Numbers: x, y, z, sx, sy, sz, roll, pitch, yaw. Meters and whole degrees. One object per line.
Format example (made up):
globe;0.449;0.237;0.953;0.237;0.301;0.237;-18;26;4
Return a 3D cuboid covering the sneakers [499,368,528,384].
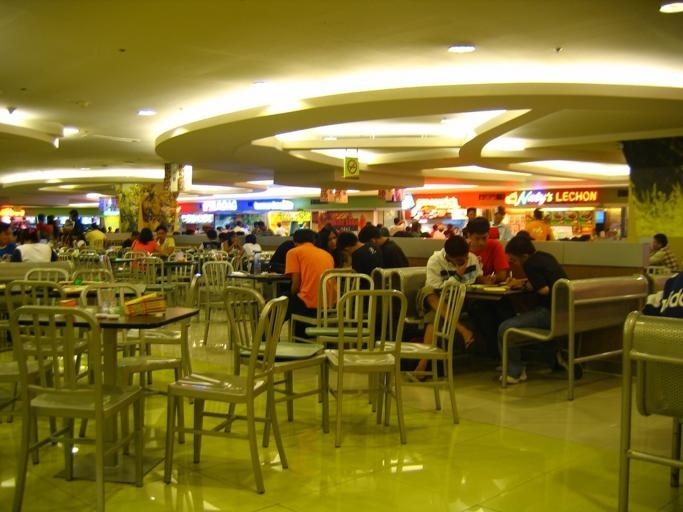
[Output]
sneakers;1.673;1.182;5.281;0.255;0.098;0.130;8;-10;-33

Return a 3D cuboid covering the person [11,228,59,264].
person;-4.106;-0.096;7.135;0.520;0.461;1.081;-3;9;-29

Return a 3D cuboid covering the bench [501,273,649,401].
bench;2.230;0.498;5.383;1.807;1.259;1.026;-3;4;-40

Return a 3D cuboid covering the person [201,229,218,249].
person;-3.119;-0.417;12.719;0.395;0.444;0.914;-1;8;-16

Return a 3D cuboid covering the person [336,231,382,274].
person;0.213;-0.044;6.477;0.452;0.477;0.941;-1;8;-20

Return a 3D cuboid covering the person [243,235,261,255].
person;-1.850;-0.234;10.995;0.287;0.417;0.903;0;8;-11

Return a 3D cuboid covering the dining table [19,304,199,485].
dining table;-1.446;0.829;3.629;0.929;0.902;0.893;1;6;-4

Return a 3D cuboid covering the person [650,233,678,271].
person;5.097;-0.066;8.475;0.378;0.512;0.715;6;9;29

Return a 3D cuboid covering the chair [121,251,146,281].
chair;-3.717;0.183;9.595;0.476;0.587;0.417;1;9;-11
